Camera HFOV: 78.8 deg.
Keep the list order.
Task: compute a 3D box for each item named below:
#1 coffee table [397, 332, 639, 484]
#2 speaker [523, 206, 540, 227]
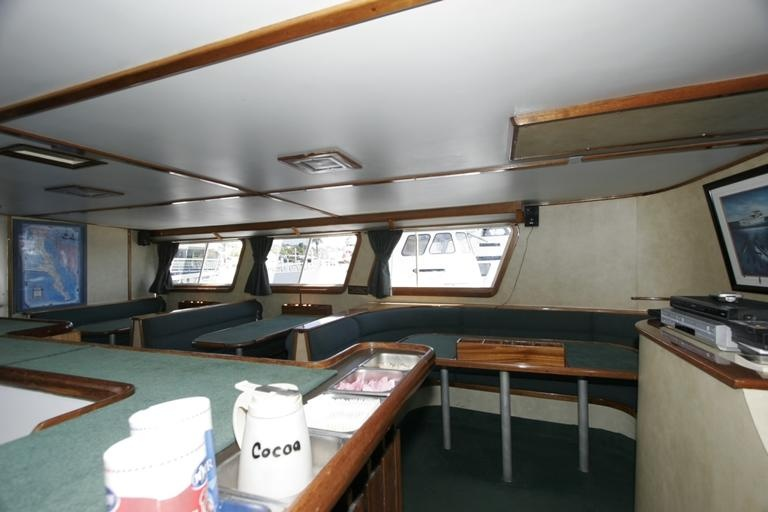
[{"bbox_3d":[1.071,1.311,4.080,2.181,0.811,1.003,1,-2,13],"label":"coffee table"},{"bbox_3d":[1.848,-0.495,5.902,0.195,0.263,0.179,-2,-4,15],"label":"speaker"}]
